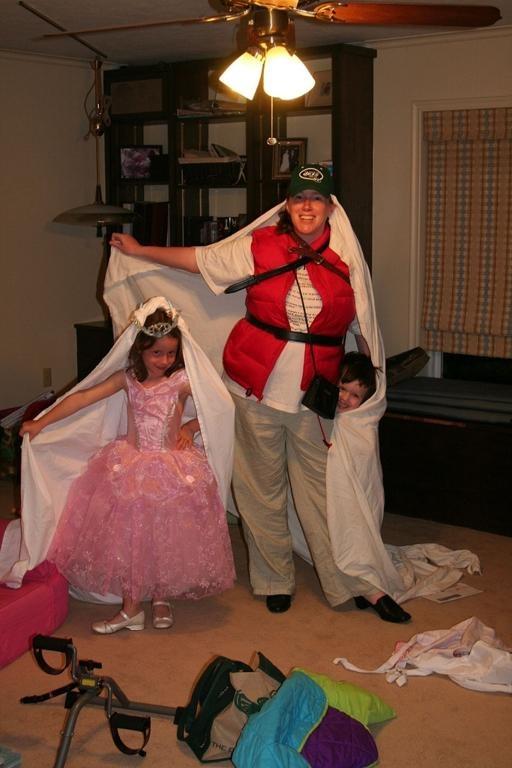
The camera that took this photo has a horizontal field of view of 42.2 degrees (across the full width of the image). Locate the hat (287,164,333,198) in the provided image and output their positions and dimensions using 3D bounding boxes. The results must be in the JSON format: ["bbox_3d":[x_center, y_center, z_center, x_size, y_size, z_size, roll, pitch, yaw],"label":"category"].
[{"bbox_3d":[0.181,-0.669,2.193,0.100,0.070,0.130,4,13,7],"label":"hat"}]

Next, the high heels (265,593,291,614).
[{"bbox_3d":[0.077,0.788,2.379,0.063,0.046,0.115,1,-4,2],"label":"high heels"}]

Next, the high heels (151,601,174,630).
[{"bbox_3d":[-0.317,0.778,2.229,0.043,0.029,0.115,0,23,-11],"label":"high heels"}]

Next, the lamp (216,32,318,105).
[{"bbox_3d":[0.020,-0.815,1.749,0.204,0.107,0.230,18,23,19],"label":"lamp"}]

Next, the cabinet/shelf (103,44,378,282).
[{"bbox_3d":[-0.253,-1.379,4.157,1.400,1.218,0.357,-5,38,-4],"label":"cabinet/shelf"}]

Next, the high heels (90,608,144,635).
[{"bbox_3d":[-0.452,0.777,2.177,0.144,0.056,0.072,3,-5,-12],"label":"high heels"}]

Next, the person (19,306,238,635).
[{"bbox_3d":[-0.388,0.220,2.180,0.580,0.993,0.406,2,7,18],"label":"person"}]

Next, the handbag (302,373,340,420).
[{"bbox_3d":[0.199,0.037,2.121,0.055,0.116,0.132,4,-19,47],"label":"handbag"}]
